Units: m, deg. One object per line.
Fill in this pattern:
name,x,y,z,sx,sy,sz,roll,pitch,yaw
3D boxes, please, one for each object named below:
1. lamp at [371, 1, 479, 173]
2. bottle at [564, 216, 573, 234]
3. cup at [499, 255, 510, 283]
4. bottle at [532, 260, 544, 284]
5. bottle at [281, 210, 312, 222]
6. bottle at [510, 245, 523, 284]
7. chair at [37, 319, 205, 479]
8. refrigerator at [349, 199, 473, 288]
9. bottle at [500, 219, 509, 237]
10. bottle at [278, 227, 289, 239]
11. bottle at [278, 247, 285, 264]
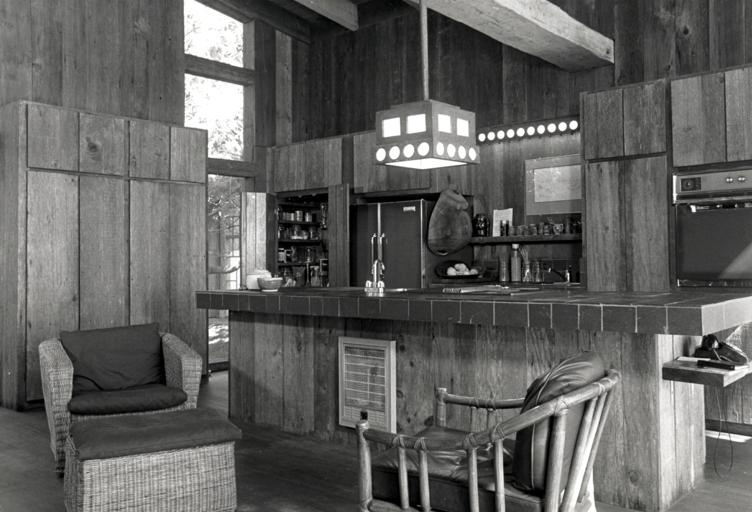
lamp,0.467,-1.389,5.141,0.683,1.372,0.837,0,1,27
bottle,2.129,-0.342,7.169,0.080,0.195,0.195,0,0,14
cup,1.496,0.162,7.486,0.110,0.284,0.154,0,1,9
bottle,1.843,0.167,7.362,0.114,0.229,0.192,0,1,13
bottle,-1.096,-0.546,8.999,0.431,0.166,0.231,0,0,-5
bottle,1.622,0.084,7.449,0.141,0.433,0.276,0,1,12
chair,-2.166,1.114,5.384,1.233,0.939,0.897,0,4,-39
refrigerator,0.309,-0.164,7.913,1.389,1.088,0.713,0,1,9
bottle,1.523,-0.329,7.625,0.110,0.186,0.124,0,1,9
bottle,-1.270,-0.304,8.926,0.088,0.156,0.196,0,0,20
bottle,-1.296,-0.007,8.925,0.092,0.201,0.124,0,1,-2
